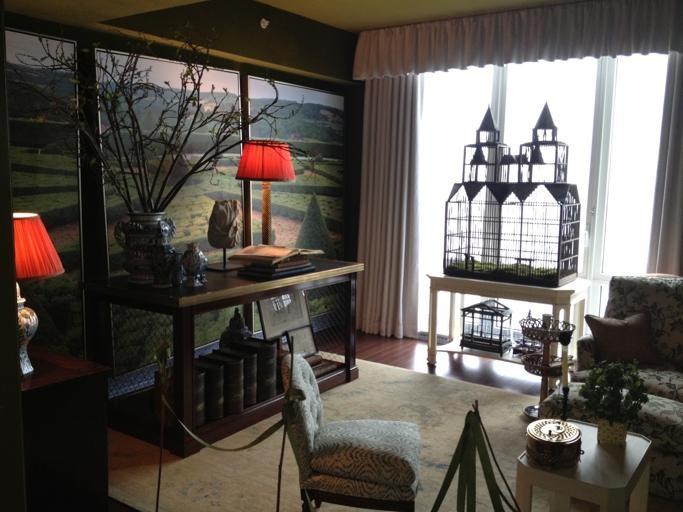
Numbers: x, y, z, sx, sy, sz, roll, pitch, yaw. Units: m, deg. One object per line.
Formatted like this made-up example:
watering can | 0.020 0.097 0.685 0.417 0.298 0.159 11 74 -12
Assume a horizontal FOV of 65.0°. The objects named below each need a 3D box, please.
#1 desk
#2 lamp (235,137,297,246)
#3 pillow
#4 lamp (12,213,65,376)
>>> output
desk | 1.338 0.609 4.749 1.185 0.799 0.587 4 4 29
lamp | -0.615 -0.527 4.309 0.435 0.820 0.726 -1 10 -9
pillow | 1.955 0.579 3.680 0.324 0.307 0.121 -2 -22 5
lamp | -1.633 0.155 2.901 0.236 0.758 1.196 -6 12 -30
